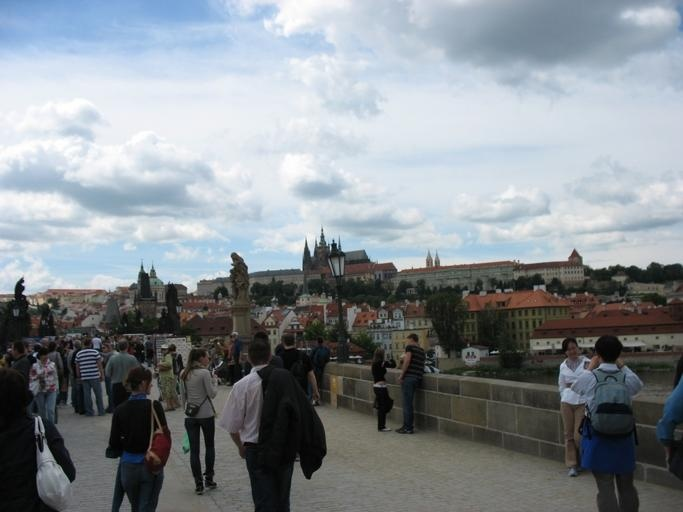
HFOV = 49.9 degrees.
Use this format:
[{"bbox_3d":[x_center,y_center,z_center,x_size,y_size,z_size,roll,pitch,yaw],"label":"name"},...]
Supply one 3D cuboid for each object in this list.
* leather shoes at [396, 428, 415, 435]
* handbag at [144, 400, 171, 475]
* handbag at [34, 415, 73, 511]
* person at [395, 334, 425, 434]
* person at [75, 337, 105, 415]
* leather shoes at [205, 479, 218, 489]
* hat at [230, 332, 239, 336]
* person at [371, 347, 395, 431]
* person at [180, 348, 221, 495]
[{"bbox_3d":[1.063,2.947,12.414,0.282,0.116,0.106,3,-2,4],"label":"leather shoes"},{"bbox_3d":[-1.778,1.734,7.053,0.231,0.672,0.189,-2,-3,-14],"label":"handbag"},{"bbox_3d":[-2.231,1.597,5.629,0.274,0.726,0.202,-2,-3,-10],"label":"handbag"},{"bbox_3d":[1.164,2.162,12.582,0.549,1.671,0.680,-3,-3,8],"label":"person"},{"bbox_3d":[-5.468,2.608,15.891,0.583,1.691,1.142,-2,-3,-20],"label":"person"},{"bbox_3d":[-1.606,2.810,8.999,0.156,0.109,0.076,3,-3,-11],"label":"leather shoes"},{"bbox_3d":[-2.755,1.993,18.738,0.304,0.127,0.433,1,-6,-7],"label":"hat"},{"bbox_3d":[0.718,2.347,13.129,0.352,1.421,0.922,-3,-3,3],"label":"person"},{"bbox_3d":[-1.769,2.000,9.105,0.403,1.714,0.724,-2,-3,-13],"label":"person"}]
